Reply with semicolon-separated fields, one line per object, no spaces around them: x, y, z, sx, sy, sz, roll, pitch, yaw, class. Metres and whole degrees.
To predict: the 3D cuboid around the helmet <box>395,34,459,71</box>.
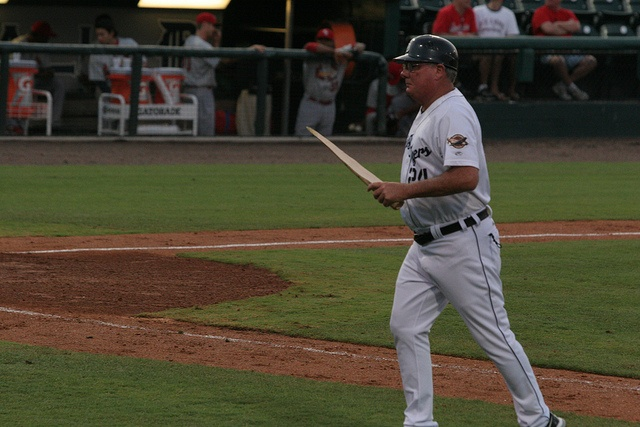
1.194;-1.739;14.020;0.584;0.211;0.392;5;5;-3;helmet

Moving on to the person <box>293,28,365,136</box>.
0.132;-2.192;23.030;1.117;1.639;0.657;-1;5;-1;person

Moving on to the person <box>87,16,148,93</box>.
-3.593;-2.750;22.509;0.820;1.316;0.761;-1;5;-8;person

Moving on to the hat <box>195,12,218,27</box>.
-1.894;-3.382;22.737;0.481;0.205;0.294;-10;30;-24;hat

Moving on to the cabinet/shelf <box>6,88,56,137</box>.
-4.865;-1.704;21.998;0.775;0.788;0.201;-4;6;-37;cabinet/shelf

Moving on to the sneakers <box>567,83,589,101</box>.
4.818;-2.244;24.112;0.393;0.130;0.154;32;-31;0;sneakers

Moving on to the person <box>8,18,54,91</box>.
-5.024;-2.833;22.963;0.661;1.303;2.616;-2;4;-11;person

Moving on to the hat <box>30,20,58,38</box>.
-4.992;-3.378;23.678;0.561;0.238;0.375;-2;15;-33;hat
